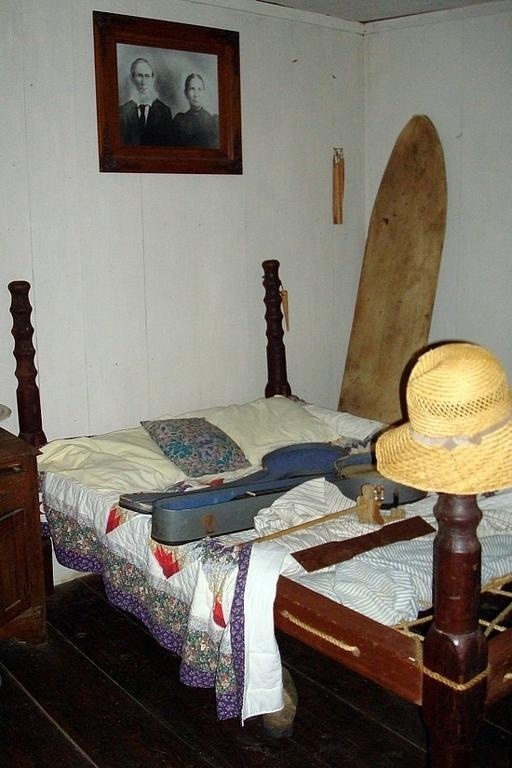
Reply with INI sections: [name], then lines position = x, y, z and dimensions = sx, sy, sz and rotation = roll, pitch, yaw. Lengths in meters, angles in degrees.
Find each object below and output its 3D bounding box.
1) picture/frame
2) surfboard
[picture/frame]
position = -0.429, -1.343, 3.120
dimensions = 0.934, 0.749, 0.100
rotation = -5, 7, -34
[surfboard]
position = 0.766, -0.561, 3.692
dimensions = 0.189, 1.678, 0.406
rotation = -9, 27, -45
